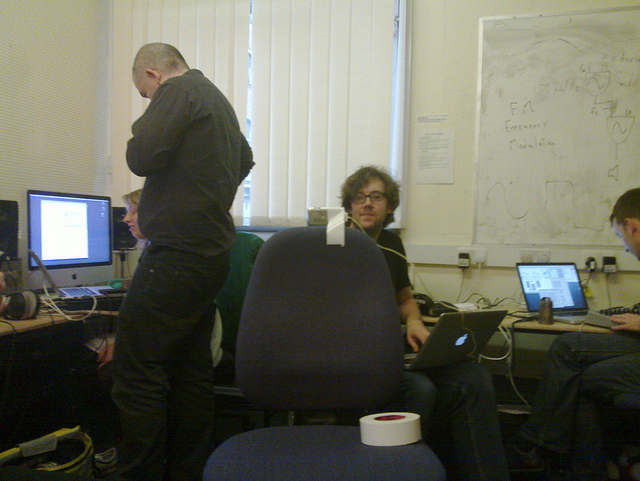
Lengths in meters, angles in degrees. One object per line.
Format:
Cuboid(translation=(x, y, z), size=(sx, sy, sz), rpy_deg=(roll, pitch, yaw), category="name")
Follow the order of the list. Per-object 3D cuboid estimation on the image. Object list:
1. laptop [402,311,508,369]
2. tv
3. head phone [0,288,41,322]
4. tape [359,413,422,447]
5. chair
Cuboid(translation=(0.545, 0.349, 2.171), size=(0.322, 0.172, 0.293), rpy_deg=(-1, 0, -37), category="laptop")
Cuboid(translation=(-1.202, 0.005, 2.660), size=(0.072, 0.416, 0.532), rpy_deg=(-5, -5, 31), category="tv")
Cuboid(translation=(-1.216, 0.262, 2.268), size=(0.129, 0.117, 0.126), rpy_deg=(7, -15, -24), category="head phone")
Cuboid(translation=(0.221, 0.588, 1.776), size=(0.135, 0.045, 0.125), rpy_deg=(-1, -5, 0), category="tape")
Cuboid(translation=(0.016, 0.384, 2.135), size=(0.864, 0.848, 0.811), rpy_deg=(0, -3, -1), category="chair")
